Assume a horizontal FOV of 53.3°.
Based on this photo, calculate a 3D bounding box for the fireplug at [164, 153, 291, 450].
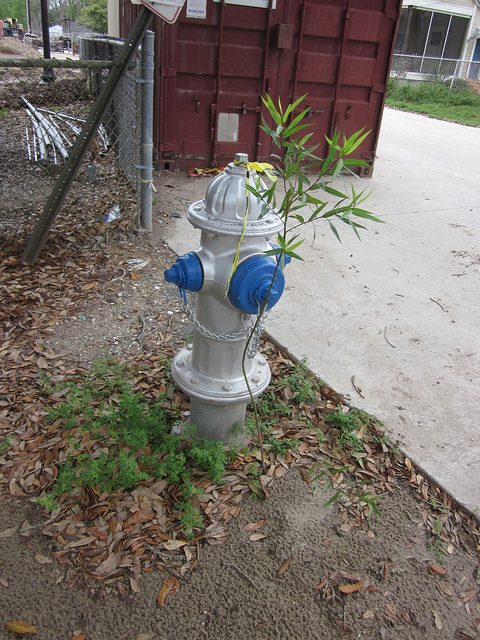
[{"bbox_3d":[-0.075,0.001,2.056,0.482,1.369,0.420,11,25,5],"label":"fireplug"}]
